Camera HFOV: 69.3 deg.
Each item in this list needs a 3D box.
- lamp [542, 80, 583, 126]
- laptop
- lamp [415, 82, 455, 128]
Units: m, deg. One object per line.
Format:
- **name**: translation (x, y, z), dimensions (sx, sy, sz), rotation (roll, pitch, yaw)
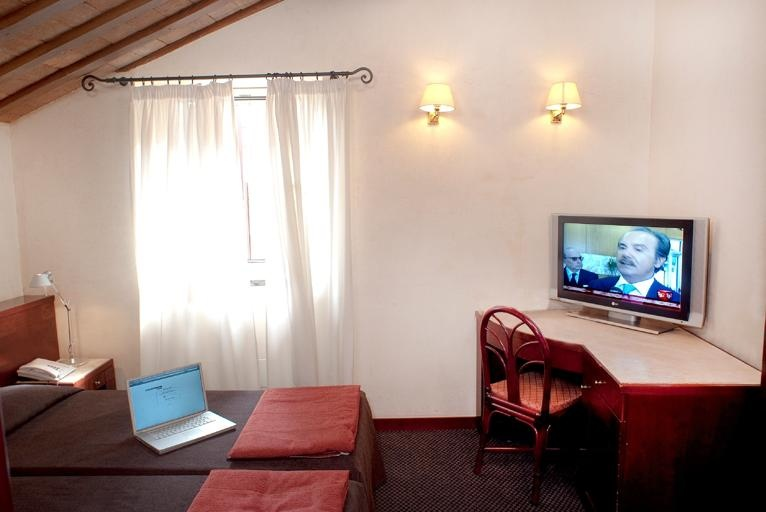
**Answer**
- **lamp**: translation (1.446, -1.228, 4.432), dimensions (0.260, 0.271, 0.263), rotation (-3, 1, 22)
- **laptop**: translation (-1.299, 0.972, 3.610), dimensions (0.426, 0.356, 0.562), rotation (6, 7, 42)
- **lamp**: translation (0.418, -1.203, 4.408), dimensions (0.331, 0.331, 0.311), rotation (0, 11, 6)
